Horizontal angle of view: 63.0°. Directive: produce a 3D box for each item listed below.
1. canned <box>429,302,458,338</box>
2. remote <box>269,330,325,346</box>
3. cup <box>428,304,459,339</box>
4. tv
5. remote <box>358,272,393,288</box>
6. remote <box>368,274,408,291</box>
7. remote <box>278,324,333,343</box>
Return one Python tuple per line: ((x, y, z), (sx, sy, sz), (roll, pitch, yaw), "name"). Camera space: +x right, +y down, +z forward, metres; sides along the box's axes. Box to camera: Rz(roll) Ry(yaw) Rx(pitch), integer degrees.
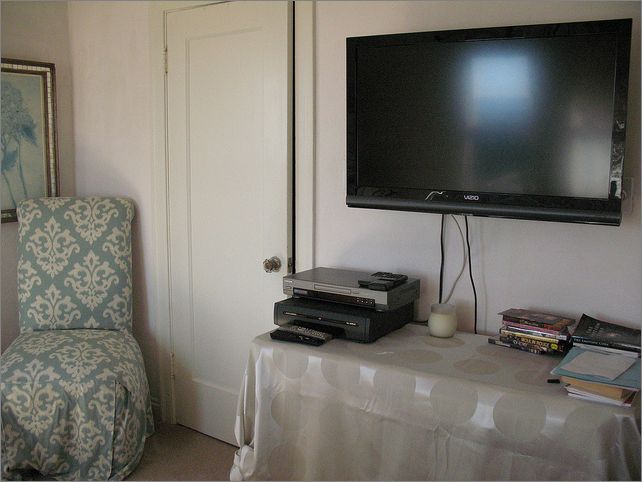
((0.521, 0.326, 2.210), (0.105, 0.084, 0.110), (9, 1, 6), "canned")
((-0.096, 0.392, 2.140), (0.227, 0.037, 0.080), (7, 30, 21), "remote")
((0.511, 0.336, 2.243), (0.119, 0.121, 0.122), (-1, 1, 0), "cup")
((0.675, -0.467, 2.012), (0.799, 0.581, 0.056), (3, 8, 28), "tv")
((0.238, 0.166, 2.268), (0.060, 0.022, 0.104), (7, 13, 28), "remote")
((0.288, 0.171, 2.238), (0.146, 0.029, 0.184), (4, 17, 13), "remote")
((-0.065, 0.375, 2.174), (0.159, 0.022, 0.085), (11, 9, 28), "remote")
